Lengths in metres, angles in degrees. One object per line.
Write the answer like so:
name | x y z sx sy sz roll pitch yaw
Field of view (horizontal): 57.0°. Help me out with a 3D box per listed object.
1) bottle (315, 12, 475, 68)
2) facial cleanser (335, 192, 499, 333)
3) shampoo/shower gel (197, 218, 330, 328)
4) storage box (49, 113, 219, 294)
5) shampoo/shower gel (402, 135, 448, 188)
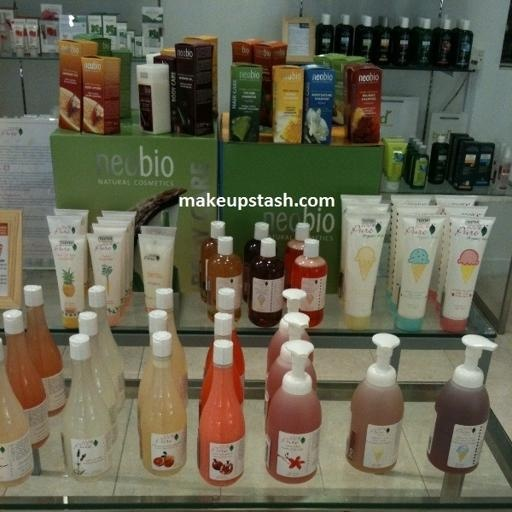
bottle | 0.827 -1.320 2.890 1.027 0.456 0.156 0 23 -3
facial cleanser | 0.337 0.013 1.061 0.307 0.295 0.199 5 13 10
shampoo/shower gel | 0.012 0.039 1.051 0.182 0.207 0.079 3 21 4
storage box | -0.243 0.001 1.310 0.597 0.681 0.220 1 15 1
shampoo/shower gel | 0.938 -0.459 2.624 0.143 0.362 0.205 -6 24 -5
